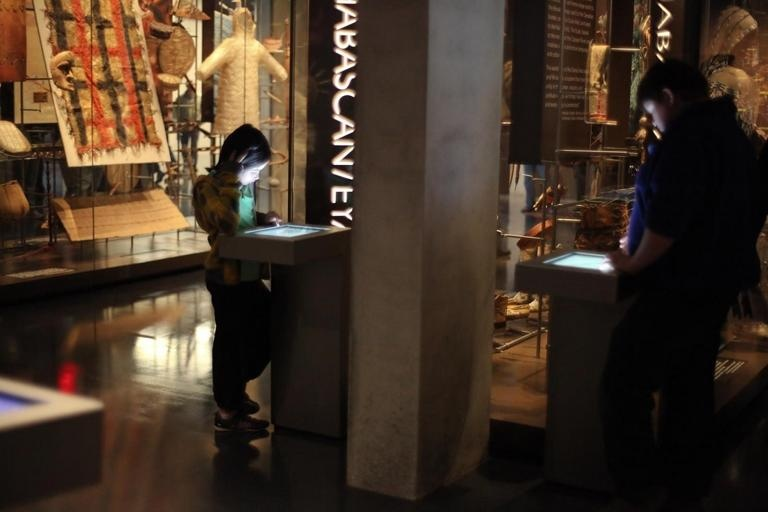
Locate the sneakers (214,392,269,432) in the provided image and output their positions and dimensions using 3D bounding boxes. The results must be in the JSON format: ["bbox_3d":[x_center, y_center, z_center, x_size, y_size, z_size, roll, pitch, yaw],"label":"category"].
[{"bbox_3d":[-0.985,1.006,4.396,0.447,0.287,0.154,-2,11,-16],"label":"sneakers"}]

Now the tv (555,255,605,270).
[{"bbox_3d":[0.995,0.016,3.396,0.249,0.030,0.357,5,12,17],"label":"tv"}]

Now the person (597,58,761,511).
[{"bbox_3d":[1.382,0.189,3.149,0.651,2.161,0.317,4,11,17],"label":"person"}]

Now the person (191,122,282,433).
[{"bbox_3d":[-0.928,0.074,4.249,0.458,1.795,0.358,-5,12,-28],"label":"person"}]
